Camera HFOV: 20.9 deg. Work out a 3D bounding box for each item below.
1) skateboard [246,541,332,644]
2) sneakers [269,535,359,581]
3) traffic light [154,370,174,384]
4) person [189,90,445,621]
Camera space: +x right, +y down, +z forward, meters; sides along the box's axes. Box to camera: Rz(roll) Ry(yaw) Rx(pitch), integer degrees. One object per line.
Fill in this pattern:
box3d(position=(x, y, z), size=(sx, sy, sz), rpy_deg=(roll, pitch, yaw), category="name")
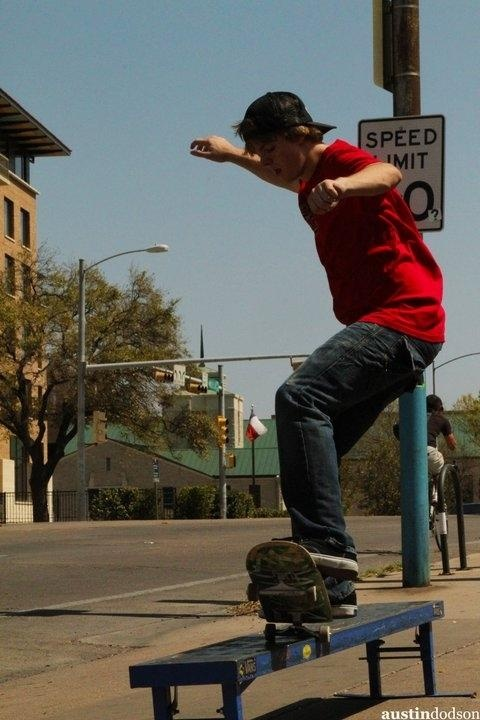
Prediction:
box3d(position=(0.157, 0.717, 4.120), size=(0.245, 0.306, 0.311), rpy_deg=(-4, -7, 13), category="skateboard")
box3d(position=(0.290, 0.640, 4.258), size=(0.364, 0.141, 0.125), rpy_deg=(10, -12, -30), category="sneakers")
box3d(position=(-1.862, 0.428, 31.361), size=(0.496, 0.272, 0.133), rpy_deg=(11, -30, -7), category="traffic light")
box3d(position=(0.325, -0.138, 4.634), size=(0.715, 1.690, 0.831), rpy_deg=(-5, -7, 19), category="person")
